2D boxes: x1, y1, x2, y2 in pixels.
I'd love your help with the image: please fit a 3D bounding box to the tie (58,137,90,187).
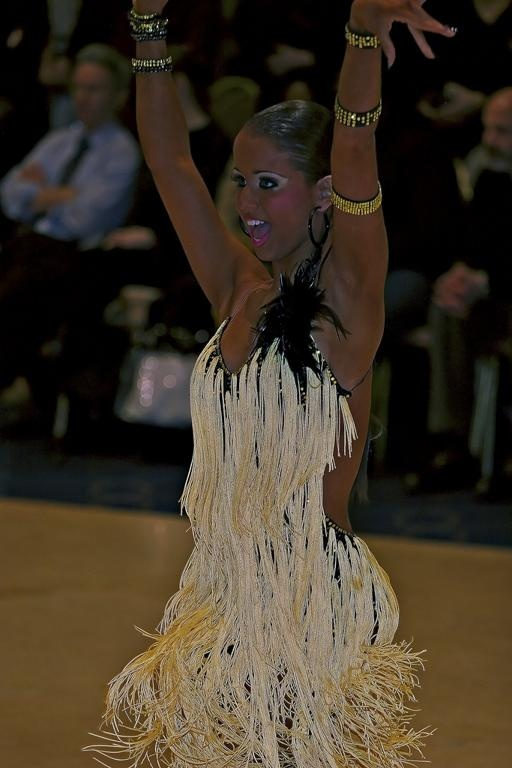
[{"bbox_3d":[-0.586,-0.703,3.144,0.055,0.217,0.060,24,31,-12],"label":"tie"}]
